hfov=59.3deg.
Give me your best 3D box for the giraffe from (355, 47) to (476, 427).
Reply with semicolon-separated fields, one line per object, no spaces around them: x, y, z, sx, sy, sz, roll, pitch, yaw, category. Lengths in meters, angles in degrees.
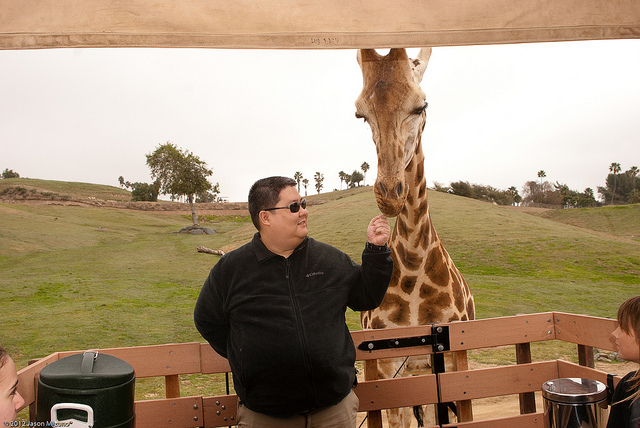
1.028;0.498;6.549;1.600;4.881;0.935;-4;13;-36;giraffe
